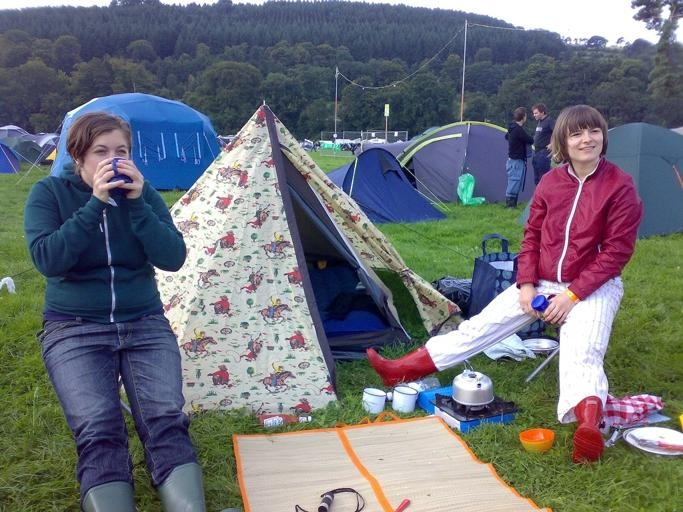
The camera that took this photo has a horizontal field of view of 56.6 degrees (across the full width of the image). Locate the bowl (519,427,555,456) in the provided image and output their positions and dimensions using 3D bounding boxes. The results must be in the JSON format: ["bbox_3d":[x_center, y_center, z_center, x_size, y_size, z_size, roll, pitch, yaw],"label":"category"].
[{"bbox_3d":[1.287,1.221,4.161,0.242,0.109,0.152,-5,6,-21],"label":"bowl"}]

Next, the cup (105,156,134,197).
[{"bbox_3d":[-1.295,-0.445,3.682,0.121,0.239,0.174,-6,6,-29],"label":"cup"}]

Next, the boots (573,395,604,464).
[{"bbox_3d":[1.531,1.095,3.923,0.191,0.420,0.177,-1,6,11],"label":"boots"}]

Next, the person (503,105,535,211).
[{"bbox_3d":[3.237,-1.793,11.723,0.550,1.870,0.524,10,19,27],"label":"person"}]

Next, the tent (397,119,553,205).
[{"bbox_3d":[2.371,-1.783,12.679,2.801,1.605,2.333,1,19,9],"label":"tent"}]

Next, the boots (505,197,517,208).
[{"bbox_3d":[3.174,-0.988,11.864,0.170,0.192,0.177,1,0,38],"label":"boots"}]
